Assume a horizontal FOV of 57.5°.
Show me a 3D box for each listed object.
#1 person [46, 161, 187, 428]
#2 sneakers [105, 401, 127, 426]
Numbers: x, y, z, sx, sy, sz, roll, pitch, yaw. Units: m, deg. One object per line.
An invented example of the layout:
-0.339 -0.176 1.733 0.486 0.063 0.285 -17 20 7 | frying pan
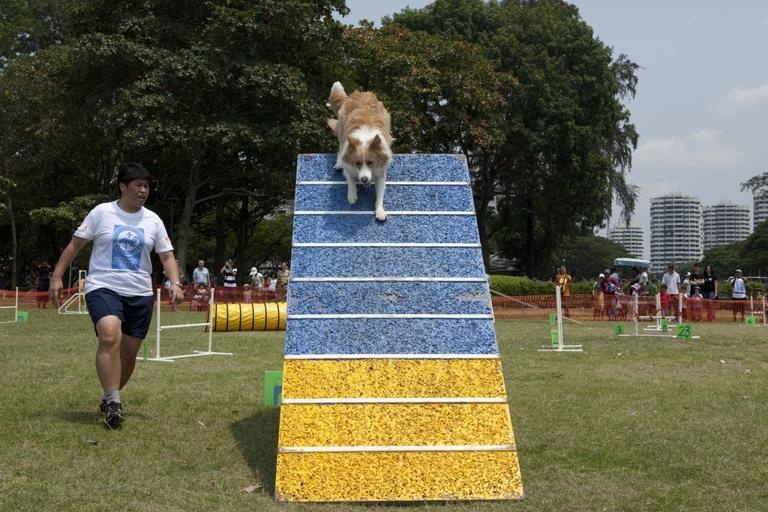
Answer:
-3.323 0.472 8.814 1.441 3.295 0.623 4 -4 -23 | person
-3.315 1.949 8.624 0.220 0.341 0.159 4 -4 -19 | sneakers
